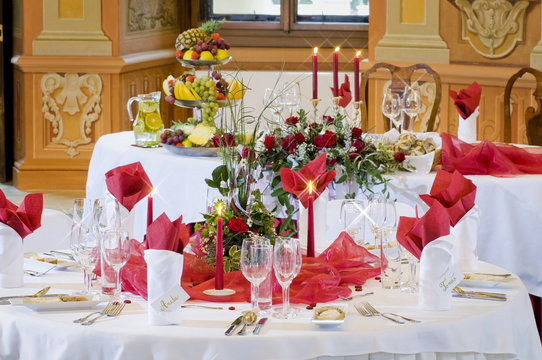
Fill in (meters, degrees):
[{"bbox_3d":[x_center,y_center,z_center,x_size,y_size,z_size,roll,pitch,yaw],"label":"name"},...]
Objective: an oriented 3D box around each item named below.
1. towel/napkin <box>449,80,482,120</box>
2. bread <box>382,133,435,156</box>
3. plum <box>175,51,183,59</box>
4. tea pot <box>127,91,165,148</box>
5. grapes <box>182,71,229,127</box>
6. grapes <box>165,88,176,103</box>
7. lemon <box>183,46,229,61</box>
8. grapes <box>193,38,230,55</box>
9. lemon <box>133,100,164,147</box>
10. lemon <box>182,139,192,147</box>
[{"bbox_3d":[1.203,-0.493,5.055,0.176,0.227,0.187,1,7,13],"label":"towel/napkin"},{"bbox_3d":[0.804,-0.195,4.667,0.285,0.133,0.244,-1,21,8],"label":"bread"},{"bbox_3d":[-0.588,-0.780,5.066,0.042,0.052,0.046,35,16,30],"label":"plum"},{"bbox_3d":[-0.798,-0.424,5.419,0.317,0.523,0.285,-2,14,-10],"label":"tea pot"},{"bbox_3d":[-0.389,-0.495,4.936,0.337,0.321,0.201,3,8,26],"label":"grapes"},{"bbox_3d":[-0.632,-0.519,5.002,0.031,0.061,0.107,3,40,-14],"label":"grapes"},{"bbox_3d":[-0.415,-0.775,5.013,0.284,0.079,0.095,-3,8,-12],"label":"lemon"},{"bbox_3d":[-0.374,-0.828,5.046,0.201,0.111,0.104,3,-4,-25],"label":"grapes"},{"bbox_3d":[-0.812,-0.399,5.282,0.195,0.353,0.197,8,13,40],"label":"lemon"},{"bbox_3d":[-0.522,-0.225,4.942,0.057,0.058,0.049,14,20,28],"label":"lemon"}]
